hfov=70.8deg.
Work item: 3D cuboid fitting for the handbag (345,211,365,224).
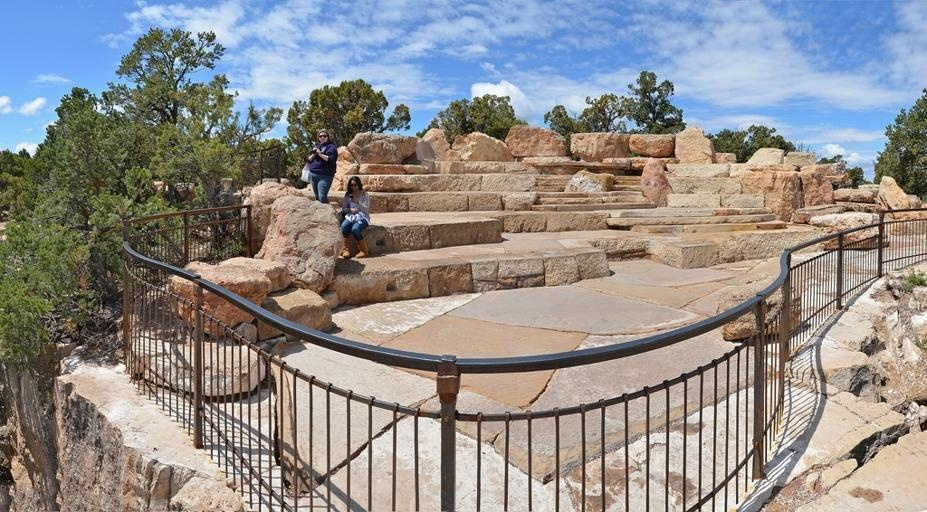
[{"bbox_3d":[-1.959,-0.751,11.870,0.293,0.204,0.099,0,-20,-8],"label":"handbag"}]

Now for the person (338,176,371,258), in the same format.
[{"bbox_3d":[-2.010,-0.745,12.058,0.617,1.477,0.505,-4,7,-22],"label":"person"}]

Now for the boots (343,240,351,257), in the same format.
[{"bbox_3d":[-2.143,-0.168,11.941,0.124,0.323,0.265,-2,7,-2],"label":"boots"}]

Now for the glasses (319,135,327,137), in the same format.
[{"bbox_3d":[-2.763,-2.404,12.837,0.157,0.075,0.050,0,7,12],"label":"glasses"}]

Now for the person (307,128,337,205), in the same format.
[{"bbox_3d":[-2.818,-1.838,12.955,0.573,1.468,1.056,-3,7,-11],"label":"person"}]
